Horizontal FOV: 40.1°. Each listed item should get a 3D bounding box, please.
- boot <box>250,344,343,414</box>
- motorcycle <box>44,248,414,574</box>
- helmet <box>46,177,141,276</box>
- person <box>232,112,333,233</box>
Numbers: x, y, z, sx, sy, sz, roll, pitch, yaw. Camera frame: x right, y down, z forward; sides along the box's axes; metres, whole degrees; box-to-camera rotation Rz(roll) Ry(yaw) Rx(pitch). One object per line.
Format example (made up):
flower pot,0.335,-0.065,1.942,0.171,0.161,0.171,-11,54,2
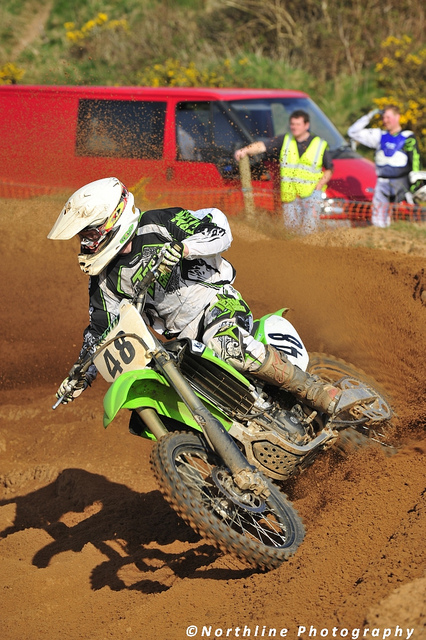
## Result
boot,0.424,0.318,3.129,0.627,0.237,0.239,28,17,-14
motorcycle,0.111,0.471,3.287,1.474,1.068,2.498,46,16,14
helmet,-0.566,-0.444,2.720,0.307,0.369,0.468,12,49,28
person,0.698,-1.510,6.171,1.293,1.546,0.584,4,22,17
